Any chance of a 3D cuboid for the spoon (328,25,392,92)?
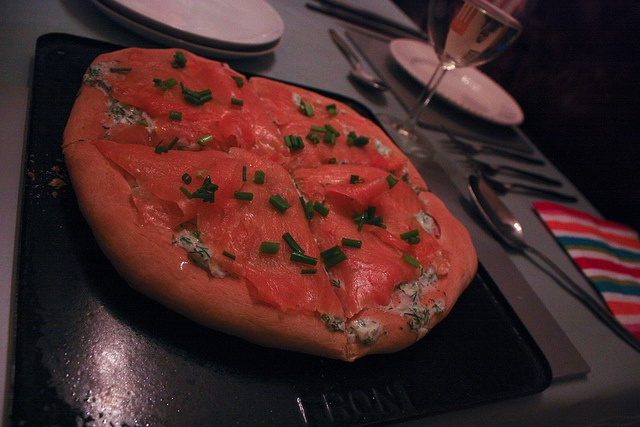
[{"bbox_3d":[0.194,-0.976,3.537,0.171,0.122,0.664,3,42,-44],"label":"spoon"}]
